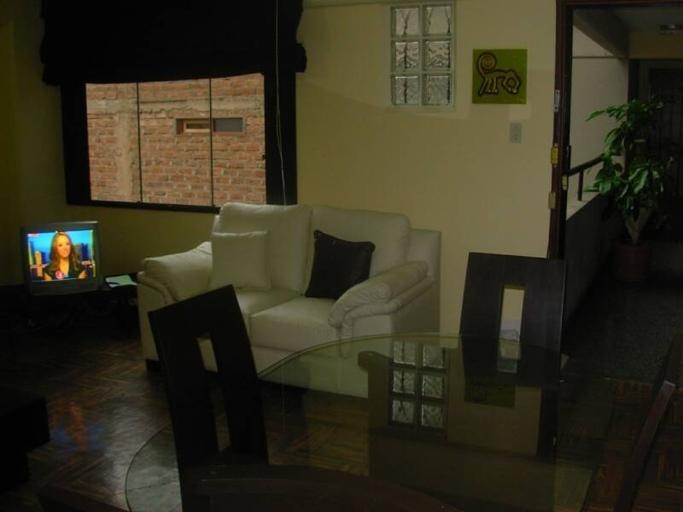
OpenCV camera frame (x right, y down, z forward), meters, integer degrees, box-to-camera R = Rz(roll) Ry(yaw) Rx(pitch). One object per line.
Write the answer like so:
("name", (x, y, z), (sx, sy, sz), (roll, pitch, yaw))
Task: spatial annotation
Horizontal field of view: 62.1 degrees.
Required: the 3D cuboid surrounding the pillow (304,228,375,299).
("pillow", (-0.020, 0.071, 4.007), (0.430, 0.450, 0.177), (10, -10, 32))
